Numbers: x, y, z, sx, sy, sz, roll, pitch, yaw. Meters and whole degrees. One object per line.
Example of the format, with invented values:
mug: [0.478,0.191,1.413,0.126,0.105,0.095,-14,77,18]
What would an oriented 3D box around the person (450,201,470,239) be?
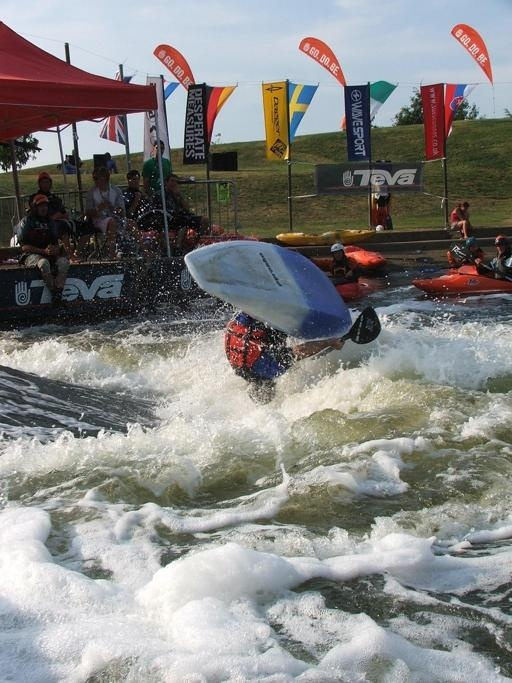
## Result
person: [5.360,-3.172,16.461,0.508,0.989,1.428,6,9,17]

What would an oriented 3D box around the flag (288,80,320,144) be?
flag: [1.113,-5.685,15.804,0.646,1.339,1.192,3,9,1]

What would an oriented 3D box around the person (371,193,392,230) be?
person: [3.636,-3.729,18.285,0.640,0.977,0.938,4,9,10]

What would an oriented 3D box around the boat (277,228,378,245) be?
boat: [1.690,-2.712,16.774,3.008,0.423,0.813,-1,13,10]

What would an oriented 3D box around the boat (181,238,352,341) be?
boat: [-0.002,-0.318,5.248,1.531,0.662,0.345,23,-45,-38]

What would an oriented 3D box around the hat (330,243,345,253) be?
hat: [1.432,-1.617,11.044,0.205,0.176,0.255,4,20,13]

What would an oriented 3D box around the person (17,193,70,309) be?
person: [-3.000,-1.290,8.968,0.676,1.545,0.381,0,10,-16]
